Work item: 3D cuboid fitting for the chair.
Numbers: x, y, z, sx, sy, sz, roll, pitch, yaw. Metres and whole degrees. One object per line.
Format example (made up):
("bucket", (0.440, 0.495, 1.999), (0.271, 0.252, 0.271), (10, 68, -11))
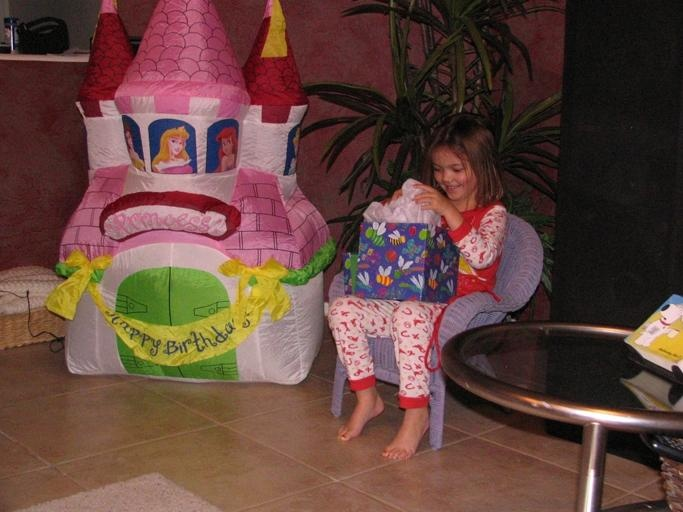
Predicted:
("chair", (0.381, 0.107, 2.568), (0.936, 0.936, 0.822), (10, 11, 42))
